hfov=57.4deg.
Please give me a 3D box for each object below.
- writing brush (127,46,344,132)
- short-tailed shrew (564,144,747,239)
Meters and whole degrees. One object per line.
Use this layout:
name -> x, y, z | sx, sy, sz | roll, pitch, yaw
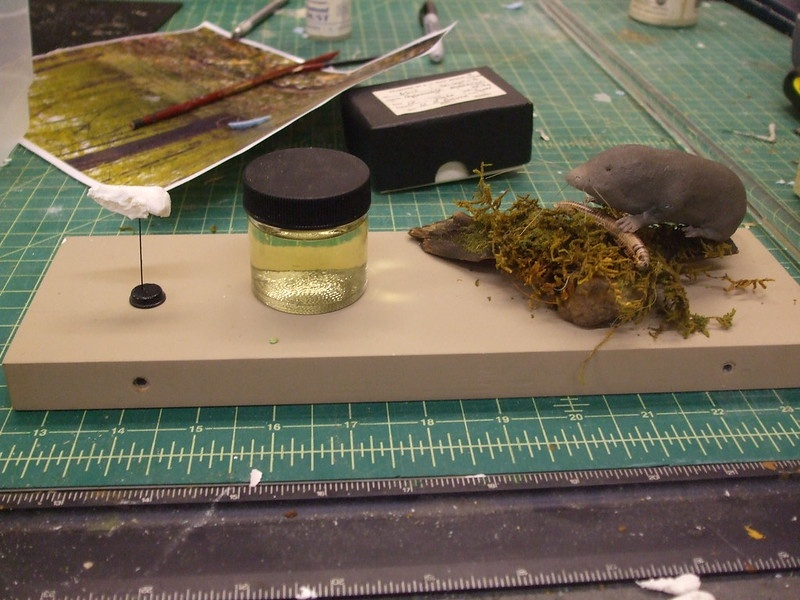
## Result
writing brush -> -0.433, -0.530, 1.875 | 0.771, 0.039, 0.077 | -24, 55, -32
short-tailed shrew -> 0.448, -0.180, 1.287 | 0.308, 0.191, 0.121 | -10, 47, -10
